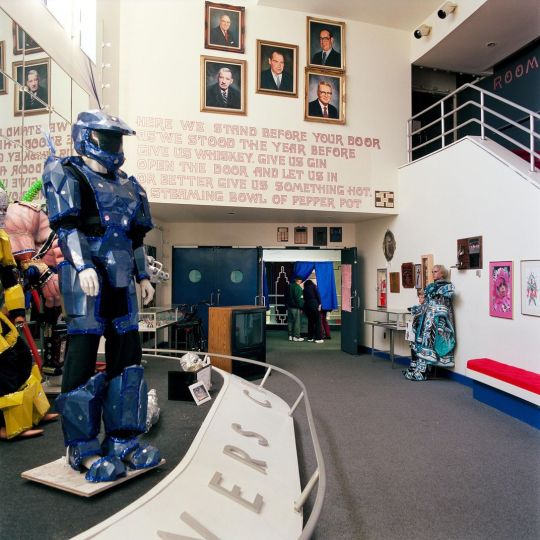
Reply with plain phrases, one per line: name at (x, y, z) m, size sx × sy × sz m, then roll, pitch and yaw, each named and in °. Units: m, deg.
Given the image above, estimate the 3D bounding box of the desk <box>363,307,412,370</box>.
desk at (1.873, 1.120, 7.822) m, size 0.219 × 0.769 × 0.709 m, roll 1°, pitch -2°, yaw -14°

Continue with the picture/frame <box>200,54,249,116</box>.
picture/frame at (-0.659, -2.630, 7.058) m, size 0.653 × 1.007 × 0.068 m, roll 2°, pitch -20°, yaw -12°

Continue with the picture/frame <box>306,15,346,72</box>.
picture/frame at (0.853, -3.472, 7.591) m, size 0.610 × 0.050 × 0.890 m, roll 11°, pitch -28°, yaw 11°

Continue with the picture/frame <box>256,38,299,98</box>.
picture/frame at (0.078, -2.973, 7.317) m, size 0.647 × 1.012 × 0.060 m, roll 2°, pitch -4°, yaw -24°

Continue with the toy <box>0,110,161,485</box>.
toy at (-0.907, 0.113, 2.700) m, size 0.642 × 2.130 × 0.380 m, roll 2°, pitch -1°, yaw -34°

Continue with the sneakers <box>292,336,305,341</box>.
sneakers at (0.621, 1.504, 10.543) m, size 0.219 × 0.130 × 0.091 m, roll -2°, pitch 5°, yaw -10°

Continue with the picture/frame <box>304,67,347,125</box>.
picture/frame at (0.831, -2.645, 7.536) m, size 0.649 × 1.018 × 0.068 m, roll 4°, pitch -18°, yaw -3°

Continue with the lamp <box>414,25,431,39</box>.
lamp at (2.381, -3.780, 7.793) m, size 0.223 × 0.170 × 0.253 m, roll 23°, pitch 49°, yaw 29°

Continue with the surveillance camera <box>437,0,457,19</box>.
surveillance camera at (2.595, -3.818, 7.323) m, size 0.257 × 0.233 × 0.342 m, roll 19°, pitch 51°, yaw 42°

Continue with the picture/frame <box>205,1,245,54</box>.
picture/frame at (-0.673, -3.485, 7.102) m, size 0.578 × 0.861 × 0.056 m, roll 0°, pitch -2°, yaw -23°

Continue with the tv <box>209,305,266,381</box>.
tv at (-0.366, 1.015, 6.677) m, size 0.704 × 1.107 × 0.308 m, roll -3°, pitch 6°, yaw -44°

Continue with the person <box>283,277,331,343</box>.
person at (0.725, 0.845, 10.528) m, size 0.655 × 1.225 × 1.079 m, roll 2°, pitch -1°, yaw -32°

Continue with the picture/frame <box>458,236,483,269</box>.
picture/frame at (2.481, -0.195, 6.129) m, size 0.021 × 0.417 × 0.327 m, roll 2°, pitch -3°, yaw -14°

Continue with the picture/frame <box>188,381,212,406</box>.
picture/frame at (-0.600, 1.068, 4.183) m, size 0.008 × 0.147 × 0.123 m, roll -16°, pitch 5°, yaw 30°
